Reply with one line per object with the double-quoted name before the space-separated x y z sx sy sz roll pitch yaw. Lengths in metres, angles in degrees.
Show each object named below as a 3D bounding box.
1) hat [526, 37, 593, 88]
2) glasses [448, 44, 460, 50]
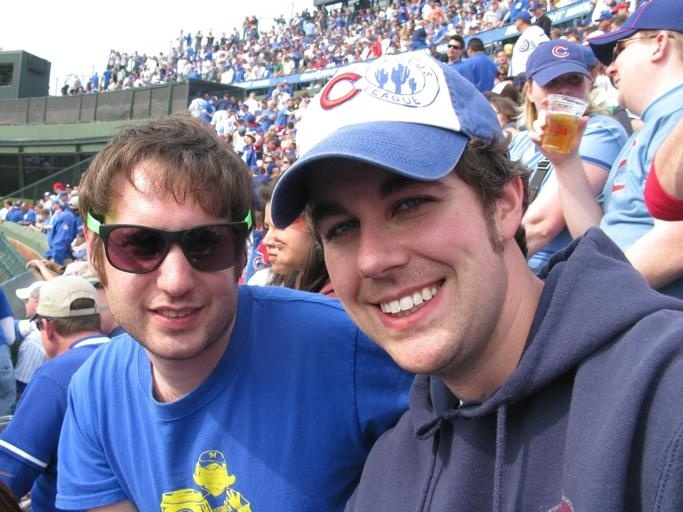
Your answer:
"hat" 1.405 -1.220 4.610 0.267 0.212 0.388 -11 7 9
"glasses" 1.530 -2.866 9.716 0.157 0.066 0.086 10 21 43
